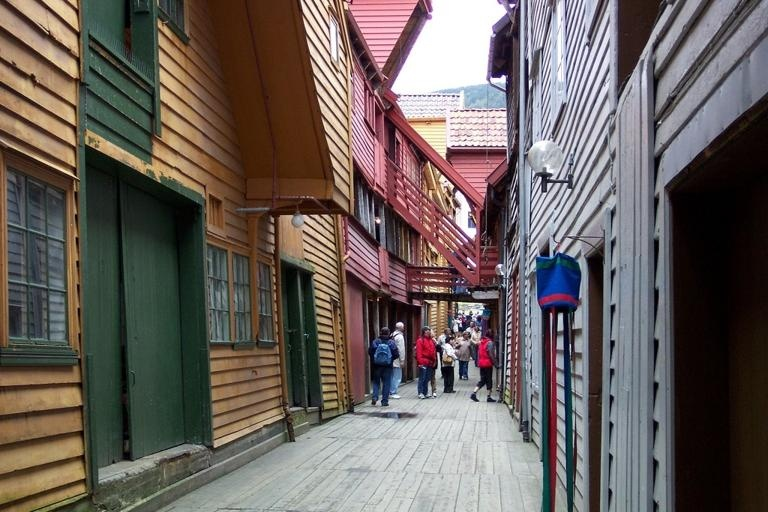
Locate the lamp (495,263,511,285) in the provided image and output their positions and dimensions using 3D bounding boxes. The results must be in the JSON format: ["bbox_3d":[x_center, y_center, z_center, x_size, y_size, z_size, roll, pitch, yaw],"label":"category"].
[{"bbox_3d":[3.197,0.350,18.500,0.335,0.724,0.506,3,-15,-5],"label":"lamp"}]

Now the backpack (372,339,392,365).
[{"bbox_3d":[-0.023,2.273,16.495,0.508,0.899,0.439,0,-6,0],"label":"backpack"}]

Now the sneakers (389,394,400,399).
[{"bbox_3d":[0.297,3.786,18.870,0.226,0.133,0.093,-1,3,21],"label":"sneakers"}]

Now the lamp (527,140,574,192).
[{"bbox_3d":[1.661,-0.869,6.870,0.408,0.542,0.313,2,-4,13],"label":"lamp"}]

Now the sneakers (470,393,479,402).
[{"bbox_3d":[2.321,3.551,17.827,0.211,0.276,0.602,0,-5,8],"label":"sneakers"}]

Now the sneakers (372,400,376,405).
[{"bbox_3d":[-0.229,3.540,16.888,0.095,0.139,0.106,1,1,-11],"label":"sneakers"}]
